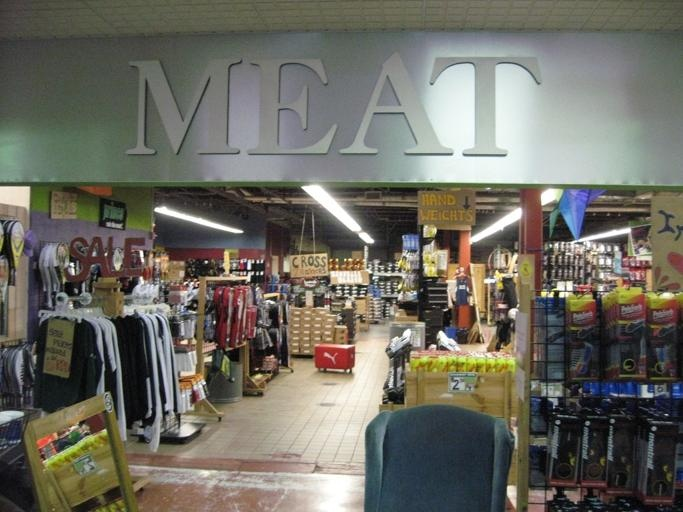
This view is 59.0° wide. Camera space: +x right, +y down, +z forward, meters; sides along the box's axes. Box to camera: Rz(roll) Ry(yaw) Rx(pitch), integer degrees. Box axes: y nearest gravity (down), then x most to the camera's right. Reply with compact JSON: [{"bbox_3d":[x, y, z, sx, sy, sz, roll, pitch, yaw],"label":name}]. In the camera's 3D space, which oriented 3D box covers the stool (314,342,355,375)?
[{"bbox_3d":[-0.129,1.857,10.964,0.695,0.470,0.341,4,1,8],"label":"stool"}]
